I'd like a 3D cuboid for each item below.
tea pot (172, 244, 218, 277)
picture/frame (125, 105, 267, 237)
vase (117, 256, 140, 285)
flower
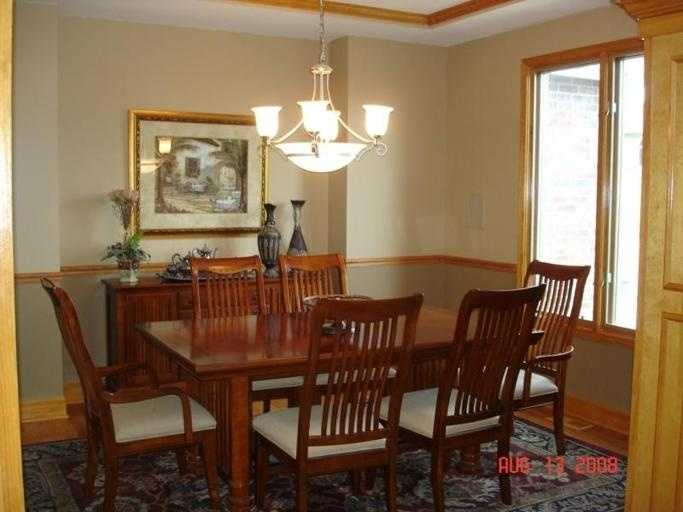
[{"bbox_3d":[-1.275,0.038,4.812,0.285,0.199,0.426,10,14,41],"label":"tea pot"},{"bbox_3d":[-1.323,-0.752,4.900,1.235,1.036,0.054,-1,6,-25],"label":"picture/frame"},{"bbox_3d":[-1.696,0.113,4.504,0.234,0.221,0.183,-1,0,-27],"label":"vase"},{"bbox_3d":[-1.780,-0.207,4.634,0.438,0.612,0.464,1,2,-27],"label":"flower"}]
